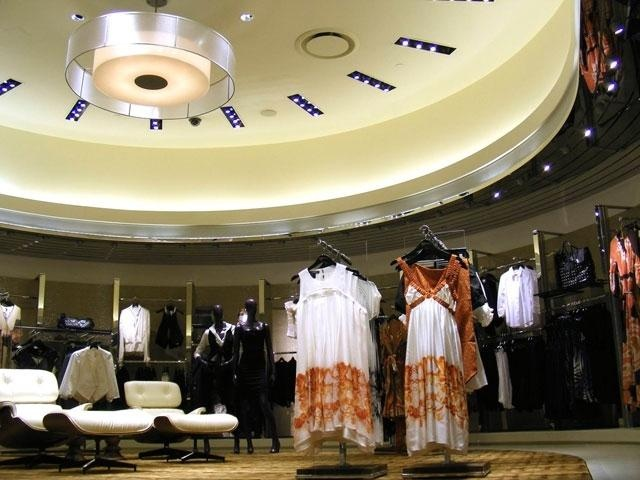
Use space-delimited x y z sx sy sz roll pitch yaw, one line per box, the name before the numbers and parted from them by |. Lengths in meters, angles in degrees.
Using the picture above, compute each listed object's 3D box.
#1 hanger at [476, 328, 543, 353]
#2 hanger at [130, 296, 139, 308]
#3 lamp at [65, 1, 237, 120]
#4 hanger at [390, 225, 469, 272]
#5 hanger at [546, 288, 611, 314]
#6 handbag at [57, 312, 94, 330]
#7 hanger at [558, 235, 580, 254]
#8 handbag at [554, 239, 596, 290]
hanger | 3.164 1.630 8.209 0.985 0.378 1.163 -9 -16 21
hanger | -3.729 1.269 9.939 0.095 0.184 0.178 -1 20 -6
lamp | -1.839 -1.938 5.546 1.564 1.180 1.601 1 -12 -34
hanger | 1.063 0.049 4.755 0.664 0.483 0.380 -8 -15 18
hanger | 3.829 0.921 7.433 0.847 0.378 1.233 -11 -17 28
handbag | -4.595 1.570 9.299 0.602 0.345 0.463 6 -17 -32
hanger | 3.874 0.068 7.668 0.170 0.336 0.235 -11 5 -29
handbag | 3.743 0.380 7.224 0.265 0.878 0.647 0 -5 -30
